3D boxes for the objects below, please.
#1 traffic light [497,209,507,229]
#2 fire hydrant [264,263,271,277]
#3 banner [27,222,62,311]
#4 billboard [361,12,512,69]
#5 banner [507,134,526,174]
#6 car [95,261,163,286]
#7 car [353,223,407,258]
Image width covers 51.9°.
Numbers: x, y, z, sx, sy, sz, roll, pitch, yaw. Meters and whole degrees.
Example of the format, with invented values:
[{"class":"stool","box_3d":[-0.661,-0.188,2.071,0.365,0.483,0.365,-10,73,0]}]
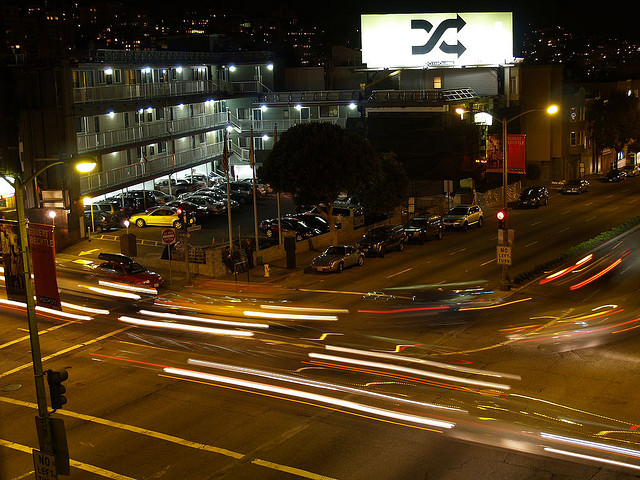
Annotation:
[{"class":"traffic light","box_3d":[9.531,-1.076,34.463,0.306,1.069,0.740,3,13,23]},{"class":"fire hydrant","box_3d":[-3.194,1.836,39.627,0.320,0.787,0.719,3,8,25]},{"class":"banner","box_3d":[-7.655,0.722,18.289,1.355,2.488,0.096,5,11,36]},{"class":"billboard","box_3d":[13.634,-23.374,76.366,18.841,6.093,0.062,-4,17,-10]},{"class":"banner","box_3d":[13.608,-5.965,45.715,1.142,2.565,2.186,1,12,16]},{"class":"car","box_3d":[-10.866,1.869,37.637,3.825,1.172,1.058,5,13,29]},{"class":"car","box_3d":[4.291,-0.044,45.688,1.996,1.630,4.251,9,14,34]}]
